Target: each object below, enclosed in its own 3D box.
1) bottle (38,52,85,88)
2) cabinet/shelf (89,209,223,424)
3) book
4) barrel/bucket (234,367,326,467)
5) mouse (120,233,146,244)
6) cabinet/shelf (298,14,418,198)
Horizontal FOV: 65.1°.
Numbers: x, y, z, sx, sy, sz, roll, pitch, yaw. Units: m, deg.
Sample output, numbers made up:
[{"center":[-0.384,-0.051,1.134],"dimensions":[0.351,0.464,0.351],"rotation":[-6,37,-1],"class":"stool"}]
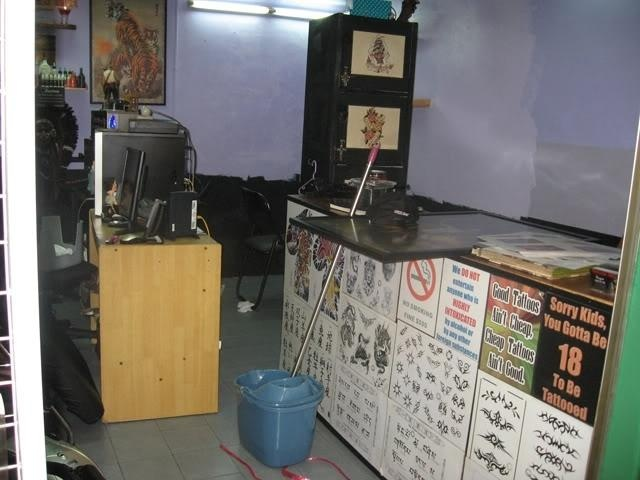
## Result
[{"center":[-2.309,-1.497,4.503],"dimensions":[0.382,0.271,0.191],"rotation":[-2,13,-23],"class":"bottle"},{"center":[-0.965,0.676,3.267],"dimensions":[0.657,0.910,1.382],"rotation":[-3,-18,-13],"class":"cabinet/shelf"},{"center":[0.805,0.083,1.766],"dimensions":[0.506,0.057,0.282],"rotation":[6,13,12],"class":"book"},{"center":[-0.199,0.848,2.525],"dimensions":[0.390,0.390,0.421],"rotation":[3,10,-1],"class":"barrel/bucket"},{"center":[-0.954,-0.016,2.590],"dimensions":[0.103,0.033,0.063],"rotation":[-5,13,-31],"class":"mouse"},{"center":[0.352,-1.184,4.413],"dimensions":[0.967,1.441,0.579],"rotation":[3,12,-2],"class":"cabinet/shelf"}]
